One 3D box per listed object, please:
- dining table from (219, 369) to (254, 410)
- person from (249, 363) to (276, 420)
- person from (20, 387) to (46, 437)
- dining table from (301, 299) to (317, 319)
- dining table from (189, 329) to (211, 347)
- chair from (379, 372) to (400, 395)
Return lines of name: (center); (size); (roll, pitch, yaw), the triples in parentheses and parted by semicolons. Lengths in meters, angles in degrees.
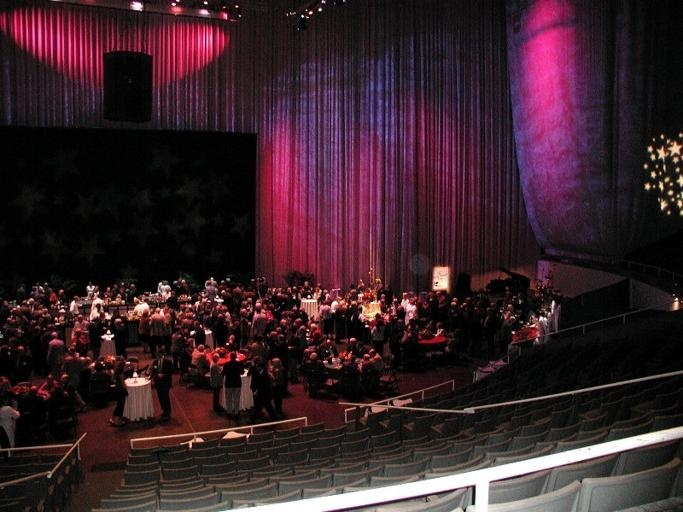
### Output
dining table: (-2.361, 3.102, 14.376); (0.642, 0.825, 0.646); (9, 2, -39)
person: (-1.769, 2.997, 13.796); (0.622, 1.410, 0.539); (-3, 14, -27)
person: (-6.198, 3.179, 12.424); (0.485, 0.937, 0.274); (-5, 4, -7)
dining table: (-1.138, 1.851, 21.455); (0.561, 0.621, 0.596); (2, 5, 14)
dining table: (-3.923, 2.273, 17.020); (0.457, 0.378, 0.486); (0, 0, 4)
chair: (1.198, 3.245, 15.729); (0.448, 0.705, 0.469); (-2, -3, 33)
